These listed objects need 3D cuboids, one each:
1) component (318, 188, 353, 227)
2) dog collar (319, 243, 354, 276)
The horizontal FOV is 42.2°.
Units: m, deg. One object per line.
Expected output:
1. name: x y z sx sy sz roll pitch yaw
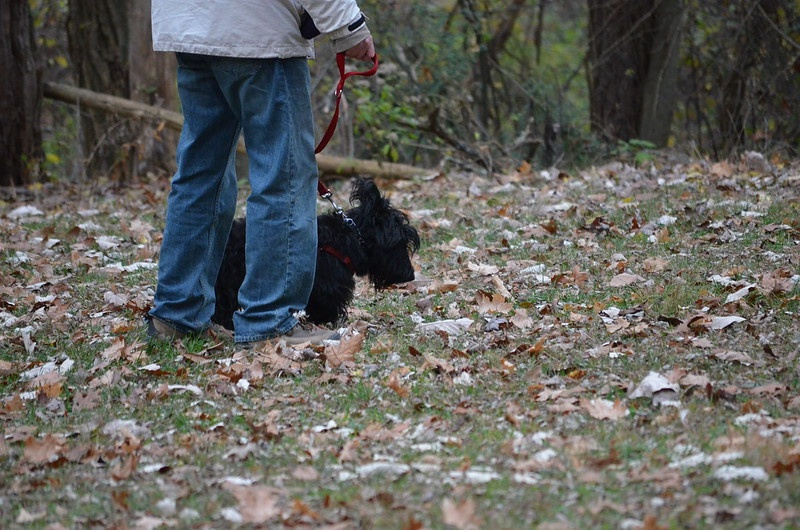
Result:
1. component: -0.595 -0.512 9.382 0.105 0.498 0.122 -45 9 -21
2. dog collar: -0.510 -0.051 8.270 0.061 0.246 0.175 -46 7 -7
